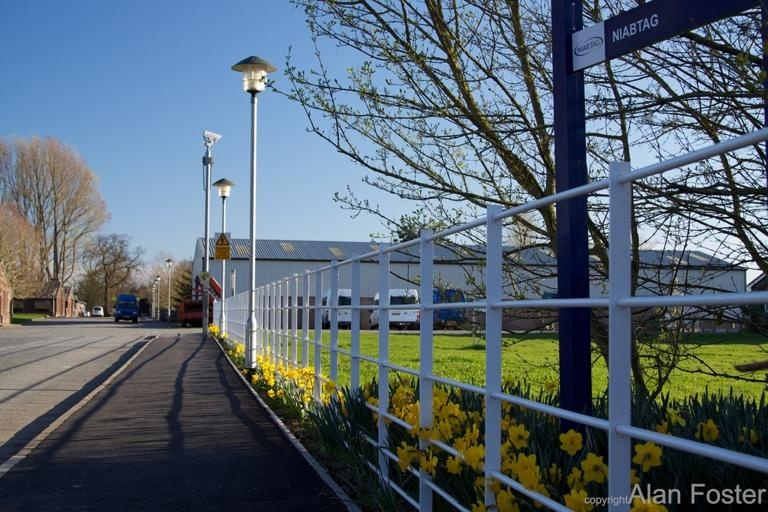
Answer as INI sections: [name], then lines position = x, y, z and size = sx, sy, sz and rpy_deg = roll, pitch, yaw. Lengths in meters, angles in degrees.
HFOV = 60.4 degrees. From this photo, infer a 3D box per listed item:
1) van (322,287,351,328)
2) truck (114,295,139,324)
[van]
position = -2.944, 3.089, 39.042
size = 2.142, 2.565, 4.341
rpy_deg = 1, -11, -11
[truck]
position = -27.030, 5.453, 69.486
size = 1.872, 2.364, 3.889
rpy_deg = 1, -11, -16
